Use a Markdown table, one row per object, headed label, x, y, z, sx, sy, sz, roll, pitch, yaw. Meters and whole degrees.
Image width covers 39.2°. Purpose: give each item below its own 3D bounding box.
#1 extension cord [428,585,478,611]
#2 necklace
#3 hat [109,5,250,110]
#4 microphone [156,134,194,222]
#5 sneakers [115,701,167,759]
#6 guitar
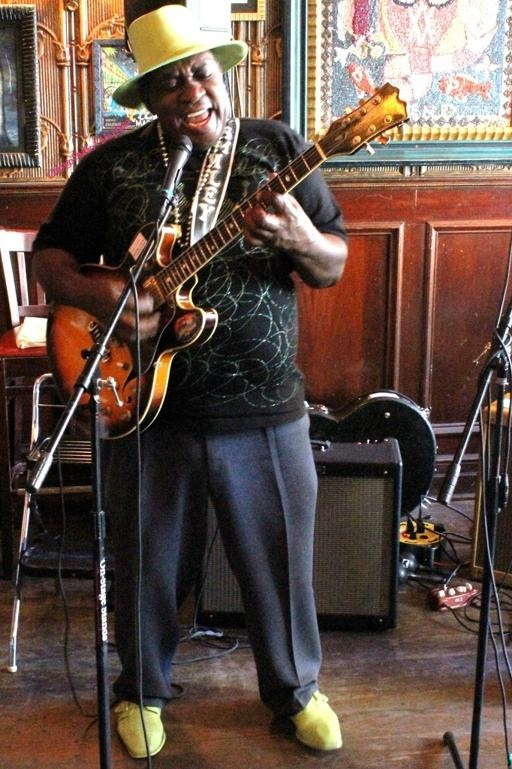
| label | x | y | z | sx | sy | sz | roll | pitch | yaw |
| --- | --- | --- | --- | --- | --- | --- | --- | --- | --- |
| extension cord | 0.634 | 0.674 | 2.316 | 0.112 | 0.041 | 0.080 | -5 | 17 | -12 |
| necklace | -0.109 | -0.367 | 1.332 | 0.125 | 0.227 | 0.035 | 5 | -2 | 25 |
| hat | -0.156 | -0.641 | 1.406 | 0.269 | 0.155 | 0.288 | -1 | 11 | 2 |
| microphone | -0.162 | -0.424 | 1.372 | 0.058 | 0.217 | 0.060 | 7 | -13 | -7 |
| sneakers | -0.264 | 0.773 | 1.619 | 0.098 | 0.066 | 0.166 | -10 | 32 | -13 |
| guitar | -0.105 | -0.206 | 1.370 | 0.542 | 0.606 | 0.569 | -5 | 12 | -19 |
